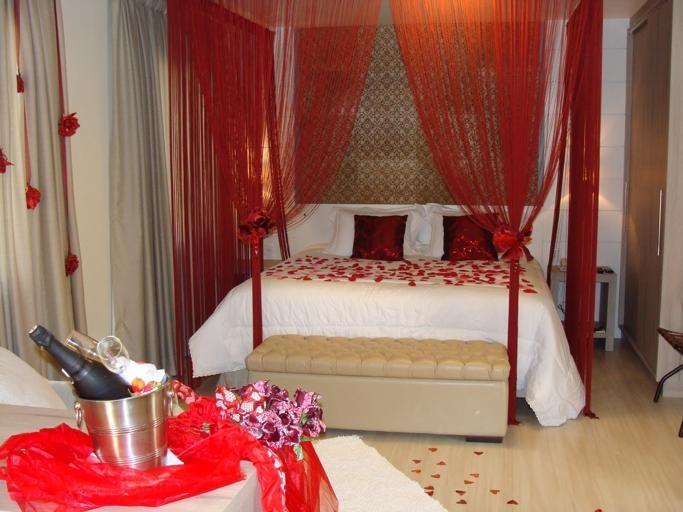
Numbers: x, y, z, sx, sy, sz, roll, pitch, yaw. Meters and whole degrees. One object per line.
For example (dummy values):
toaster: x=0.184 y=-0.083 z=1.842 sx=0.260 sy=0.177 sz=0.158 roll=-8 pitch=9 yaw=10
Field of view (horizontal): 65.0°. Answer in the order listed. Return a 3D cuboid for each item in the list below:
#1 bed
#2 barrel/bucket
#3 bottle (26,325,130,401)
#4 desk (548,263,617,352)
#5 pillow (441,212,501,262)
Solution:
bed: x=0.424 y=0.304 z=3.808 sx=1.592 sy=0.727 sz=1.649 roll=4 pitch=14 yaw=9
barrel/bucket: x=-0.506 y=0.414 z=1.283 sx=0.204 sy=0.179 sz=0.216 roll=-5 pitch=-1 yaw=0
bottle: x=-0.572 y=0.229 z=1.184 sx=0.188 sy=0.182 sz=0.076 roll=-2 pitch=10 yaw=-8
desk: x=2.276 y=0.447 z=5.031 sx=0.648 sy=1.081 sz=0.726 roll=2 pitch=3 yaw=30
pillow: x=1.106 y=-0.172 z=4.718 sx=0.412 sy=0.429 sz=0.136 roll=-1 pitch=-23 yaw=14
